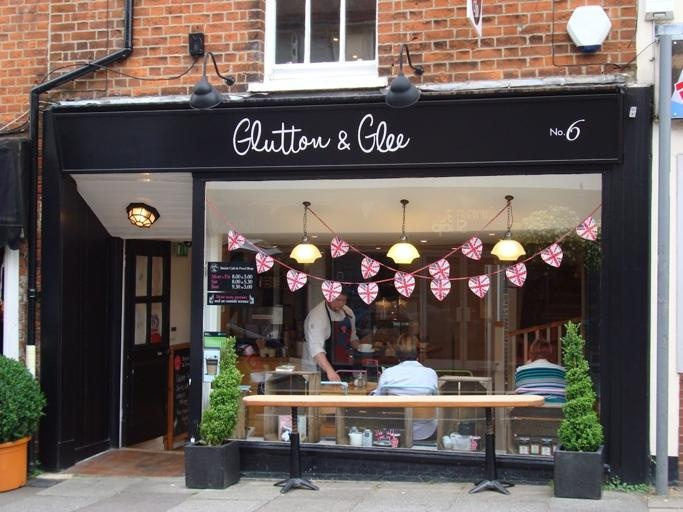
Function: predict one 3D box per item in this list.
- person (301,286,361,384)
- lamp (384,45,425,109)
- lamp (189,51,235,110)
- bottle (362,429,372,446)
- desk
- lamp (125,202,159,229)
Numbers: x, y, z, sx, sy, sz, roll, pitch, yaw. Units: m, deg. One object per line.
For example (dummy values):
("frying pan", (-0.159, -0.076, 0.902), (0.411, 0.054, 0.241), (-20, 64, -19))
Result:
("person", (-0.122, 0.949, 11.678), (0.635, 1.011, 0.194), (-1, -7, 3))
("lamp", (0.708, -2.038, 10.842), (0.389, 0.561, 0.768), (9, 32, 23))
("lamp", (-1.444, -1.999, 11.220), (0.436, 0.790, 0.660), (-1, -7, 1))
("bottle", (0.301, 2.076, 11.403), (0.139, 0.269, 0.156), (-1, -11, 6))
("desk", (0.623, 2.055, 10.983), (3.088, 1.095, 0.719), (-2, -7, 4))
("lamp", (-2.475, -0.523, 12.535), (0.432, 0.278, 0.263), (2, -7, -25))
